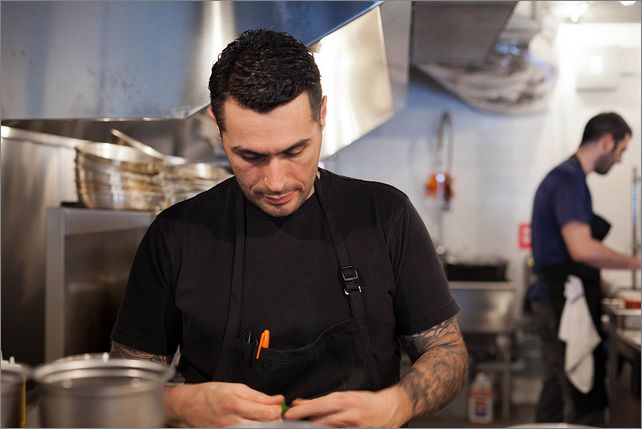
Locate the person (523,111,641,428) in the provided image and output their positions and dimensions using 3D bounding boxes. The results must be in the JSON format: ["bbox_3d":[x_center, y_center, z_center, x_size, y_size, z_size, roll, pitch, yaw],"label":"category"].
[{"bbox_3d":[1.384,0.345,3.236,0.541,1.743,0.402,4,1,32],"label":"person"}]

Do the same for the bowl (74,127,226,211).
[{"bbox_3d":[-0.820,-0.174,2.733,0.703,0.258,0.380,3,-1,6],"label":"bowl"}]

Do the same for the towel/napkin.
[{"bbox_3d":[1.388,0.647,3.281,0.228,0.618,0.051,3,-20,3],"label":"towel/napkin"}]
